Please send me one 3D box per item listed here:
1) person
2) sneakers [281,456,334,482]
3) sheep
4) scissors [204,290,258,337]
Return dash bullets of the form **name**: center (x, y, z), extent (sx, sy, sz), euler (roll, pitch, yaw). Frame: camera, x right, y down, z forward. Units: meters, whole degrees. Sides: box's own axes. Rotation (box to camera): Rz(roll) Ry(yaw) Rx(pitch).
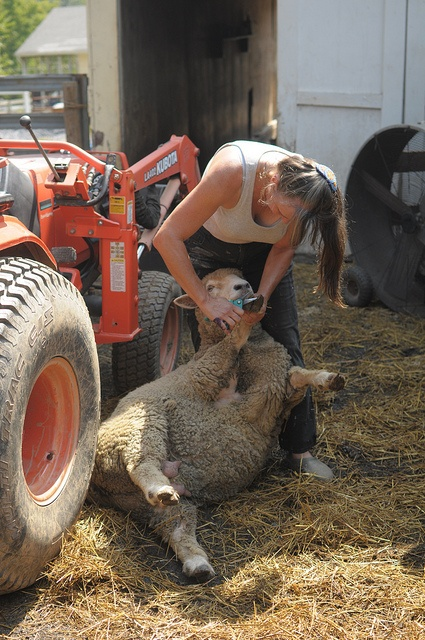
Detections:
- **person**: center (0.170, -0.018, 2.874), extent (0.865, 1.403, 0.657), euler (-3, 9, -18)
- **sneakers**: center (0.468, 0.718, 3.354), extent (0.225, 0.112, 0.210), euler (-2, 15, -16)
- **sheep**: center (-0.002, 0.500, 3.025), extent (0.940, 0.796, 1.587), euler (17, 27, 38)
- **scissors**: center (0.122, -0.043, 2.917), extent (0.176, 0.155, 0.074), euler (-26, -25, 10)
